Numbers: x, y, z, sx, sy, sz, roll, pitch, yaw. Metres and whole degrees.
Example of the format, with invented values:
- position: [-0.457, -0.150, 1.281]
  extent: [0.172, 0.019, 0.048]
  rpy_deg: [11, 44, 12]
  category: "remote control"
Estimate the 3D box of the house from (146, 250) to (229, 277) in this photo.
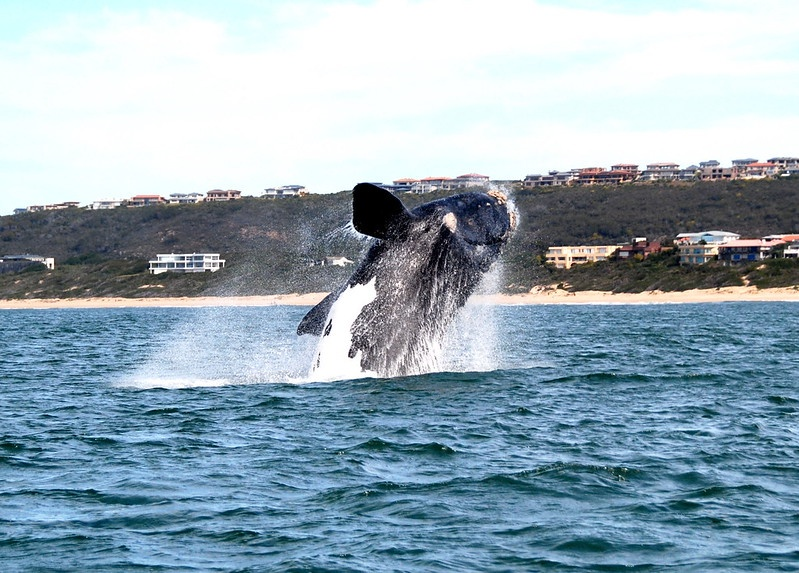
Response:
- position: [-27.249, -3.194, 214.845]
  extent: [8.469, 2.310, 13.604]
  rpy_deg: [-2, 2, -37]
  category: "house"

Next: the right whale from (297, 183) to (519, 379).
- position: [0.883, -0.141, 71.381]
  extent: [6.696, 7.773, 3.773]
  rpy_deg: [-2, 2, -14]
  category: "right whale"
